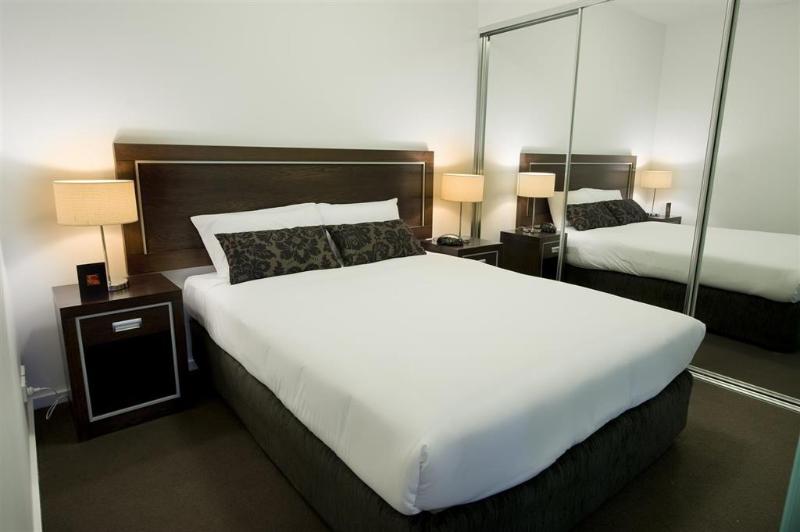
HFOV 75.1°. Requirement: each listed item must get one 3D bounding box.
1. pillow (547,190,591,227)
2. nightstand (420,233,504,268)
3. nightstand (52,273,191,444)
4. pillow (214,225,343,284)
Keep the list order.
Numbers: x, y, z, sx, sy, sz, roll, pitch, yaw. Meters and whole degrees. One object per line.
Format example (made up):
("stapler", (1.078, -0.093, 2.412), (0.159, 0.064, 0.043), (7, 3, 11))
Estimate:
("pillow", (1.607, -0.550, 4.991), (0.357, 0.311, 0.102), (-3, 1, -22))
("nightstand", (0.612, -0.198, 5.204), (0.425, 0.430, 0.434), (-12, 21, -34))
("nightstand", (-2.014, 0.575, 3.829), (0.869, 0.986, 0.797), (-2, 21, -19))
("pillow", (-0.926, -0.103, 3.962), (1.096, 0.407, 0.394), (-6, 15, -29))
